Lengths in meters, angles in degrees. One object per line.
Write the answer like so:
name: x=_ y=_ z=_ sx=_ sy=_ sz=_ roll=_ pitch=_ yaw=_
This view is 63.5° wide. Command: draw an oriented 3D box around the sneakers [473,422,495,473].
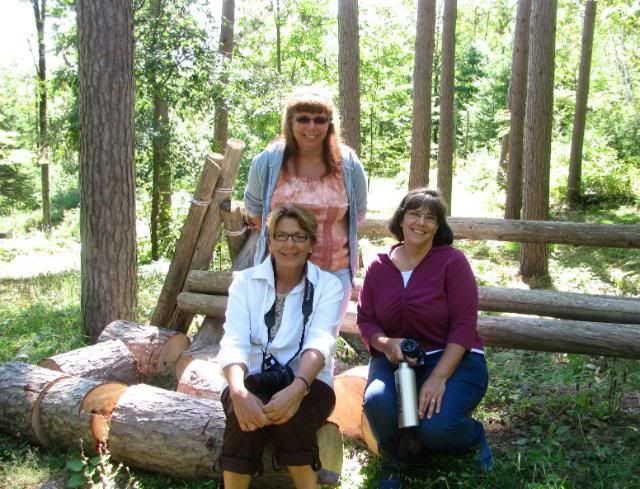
sneakers: x=1.310 y=1.647 z=4.107 sx=0.127 sy=0.277 sz=0.407 roll=-15 pitch=-39 yaw=3

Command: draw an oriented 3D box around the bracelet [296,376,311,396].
bracelet: x=-0.107 y=1.040 z=3.835 sx=0.037 sy=0.131 sz=0.141 roll=-33 pitch=-21 yaw=-17

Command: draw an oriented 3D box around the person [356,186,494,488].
person: x=0.847 y=0.698 z=4.219 sx=1.101 sy=2.210 sz=0.972 roll=2 pitch=11 yaw=11

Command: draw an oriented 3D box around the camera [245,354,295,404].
camera: x=-0.378 y=1.016 z=3.856 sx=0.236 sy=0.181 sz=0.325 roll=10 pitch=15 yaw=27
